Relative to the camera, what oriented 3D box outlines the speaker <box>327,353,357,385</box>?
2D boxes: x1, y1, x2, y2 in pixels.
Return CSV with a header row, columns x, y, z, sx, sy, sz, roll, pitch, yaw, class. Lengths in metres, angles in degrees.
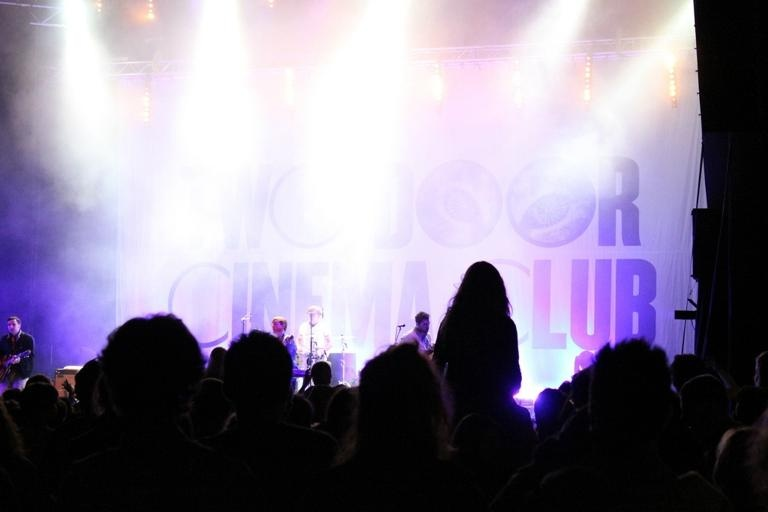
x,y,z,sx,sy,sz,roll,pitch,yaw,class
-0.539,1.683,11.426,0.375,0.398,0.555,3,22,2,speaker
